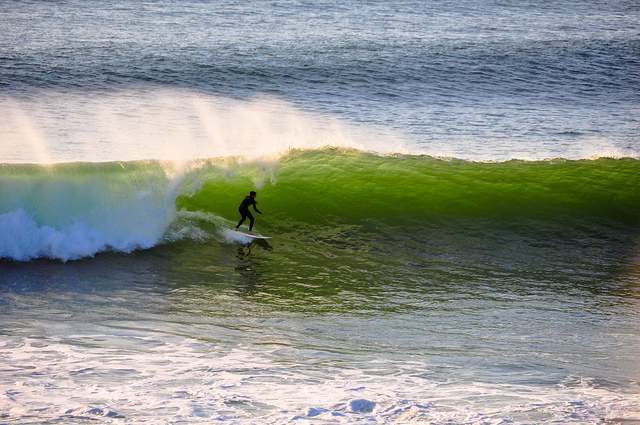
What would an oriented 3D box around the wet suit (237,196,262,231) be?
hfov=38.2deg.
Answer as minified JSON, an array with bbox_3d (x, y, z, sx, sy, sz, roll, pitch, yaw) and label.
[{"bbox_3d":[-2.649,0.035,34.660,0.918,1.318,0.819,-2,18,-3],"label":"wet suit"}]

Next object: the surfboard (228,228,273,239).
[{"bbox_3d":[-2.424,0.881,34.719,2.267,0.145,0.174,4,5,13],"label":"surfboard"}]

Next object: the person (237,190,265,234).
[{"bbox_3d":[-2.599,-0.027,34.797,1.006,1.643,1.102,-1,18,-1],"label":"person"}]
